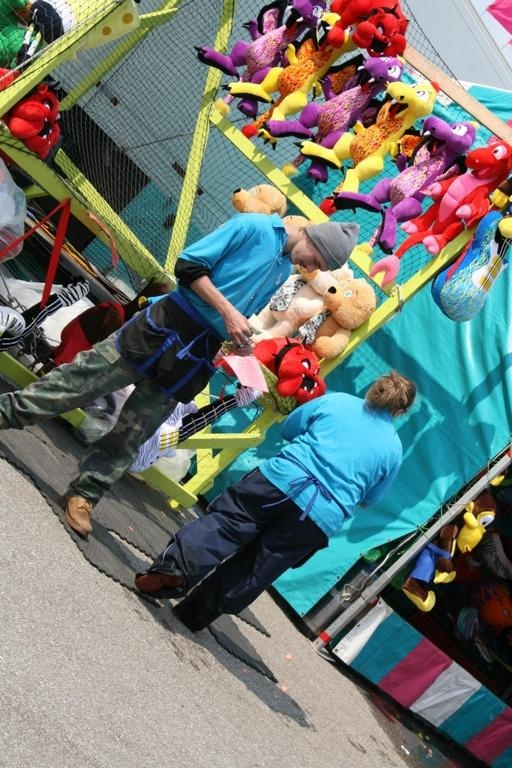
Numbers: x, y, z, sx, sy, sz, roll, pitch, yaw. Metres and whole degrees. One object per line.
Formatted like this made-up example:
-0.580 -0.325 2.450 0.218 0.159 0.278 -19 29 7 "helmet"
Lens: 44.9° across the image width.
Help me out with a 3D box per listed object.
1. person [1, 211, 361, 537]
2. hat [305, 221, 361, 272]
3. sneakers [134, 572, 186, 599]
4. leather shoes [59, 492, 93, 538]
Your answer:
-0.236 -0.158 2.133 0.442 1.173 0.744 42 11 30 "person"
0.256 -0.503 2.260 0.213 0.159 0.151 11 -47 59 "hat"
-0.335 0.687 2.125 0.147 0.050 0.105 8 -22 -8 "sneakers"
-0.571 0.409 2.012 0.063 0.076 0.177 34 8 -46 "leather shoes"
